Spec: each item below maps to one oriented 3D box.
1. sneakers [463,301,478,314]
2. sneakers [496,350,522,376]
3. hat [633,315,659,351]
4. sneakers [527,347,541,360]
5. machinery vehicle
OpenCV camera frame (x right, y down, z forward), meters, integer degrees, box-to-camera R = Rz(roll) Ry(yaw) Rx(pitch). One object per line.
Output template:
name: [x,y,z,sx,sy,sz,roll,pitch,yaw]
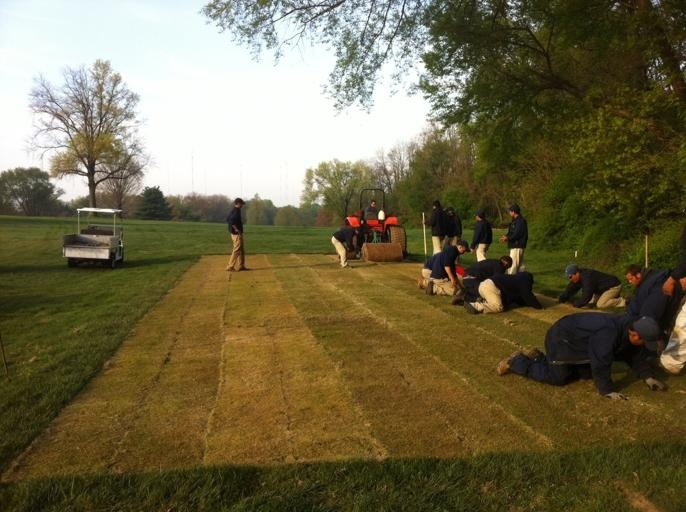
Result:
sneakers: [2.483,1.011,10.895,0.134,0.121,0.341,4,14,-16]
sneakers: [2.404,1.586,8.157,0.382,0.231,0.130,-35,-13,-10]
hat: [3.898,1.013,7.181,0.299,0.421,0.196,4,7,30]
sneakers: [2.802,1.428,8.198,0.145,0.118,0.150,-2,5,-17]
machinery vehicle: [0.960,-1.127,19.521,1.903,2.483,3.903,0,9,-7]
